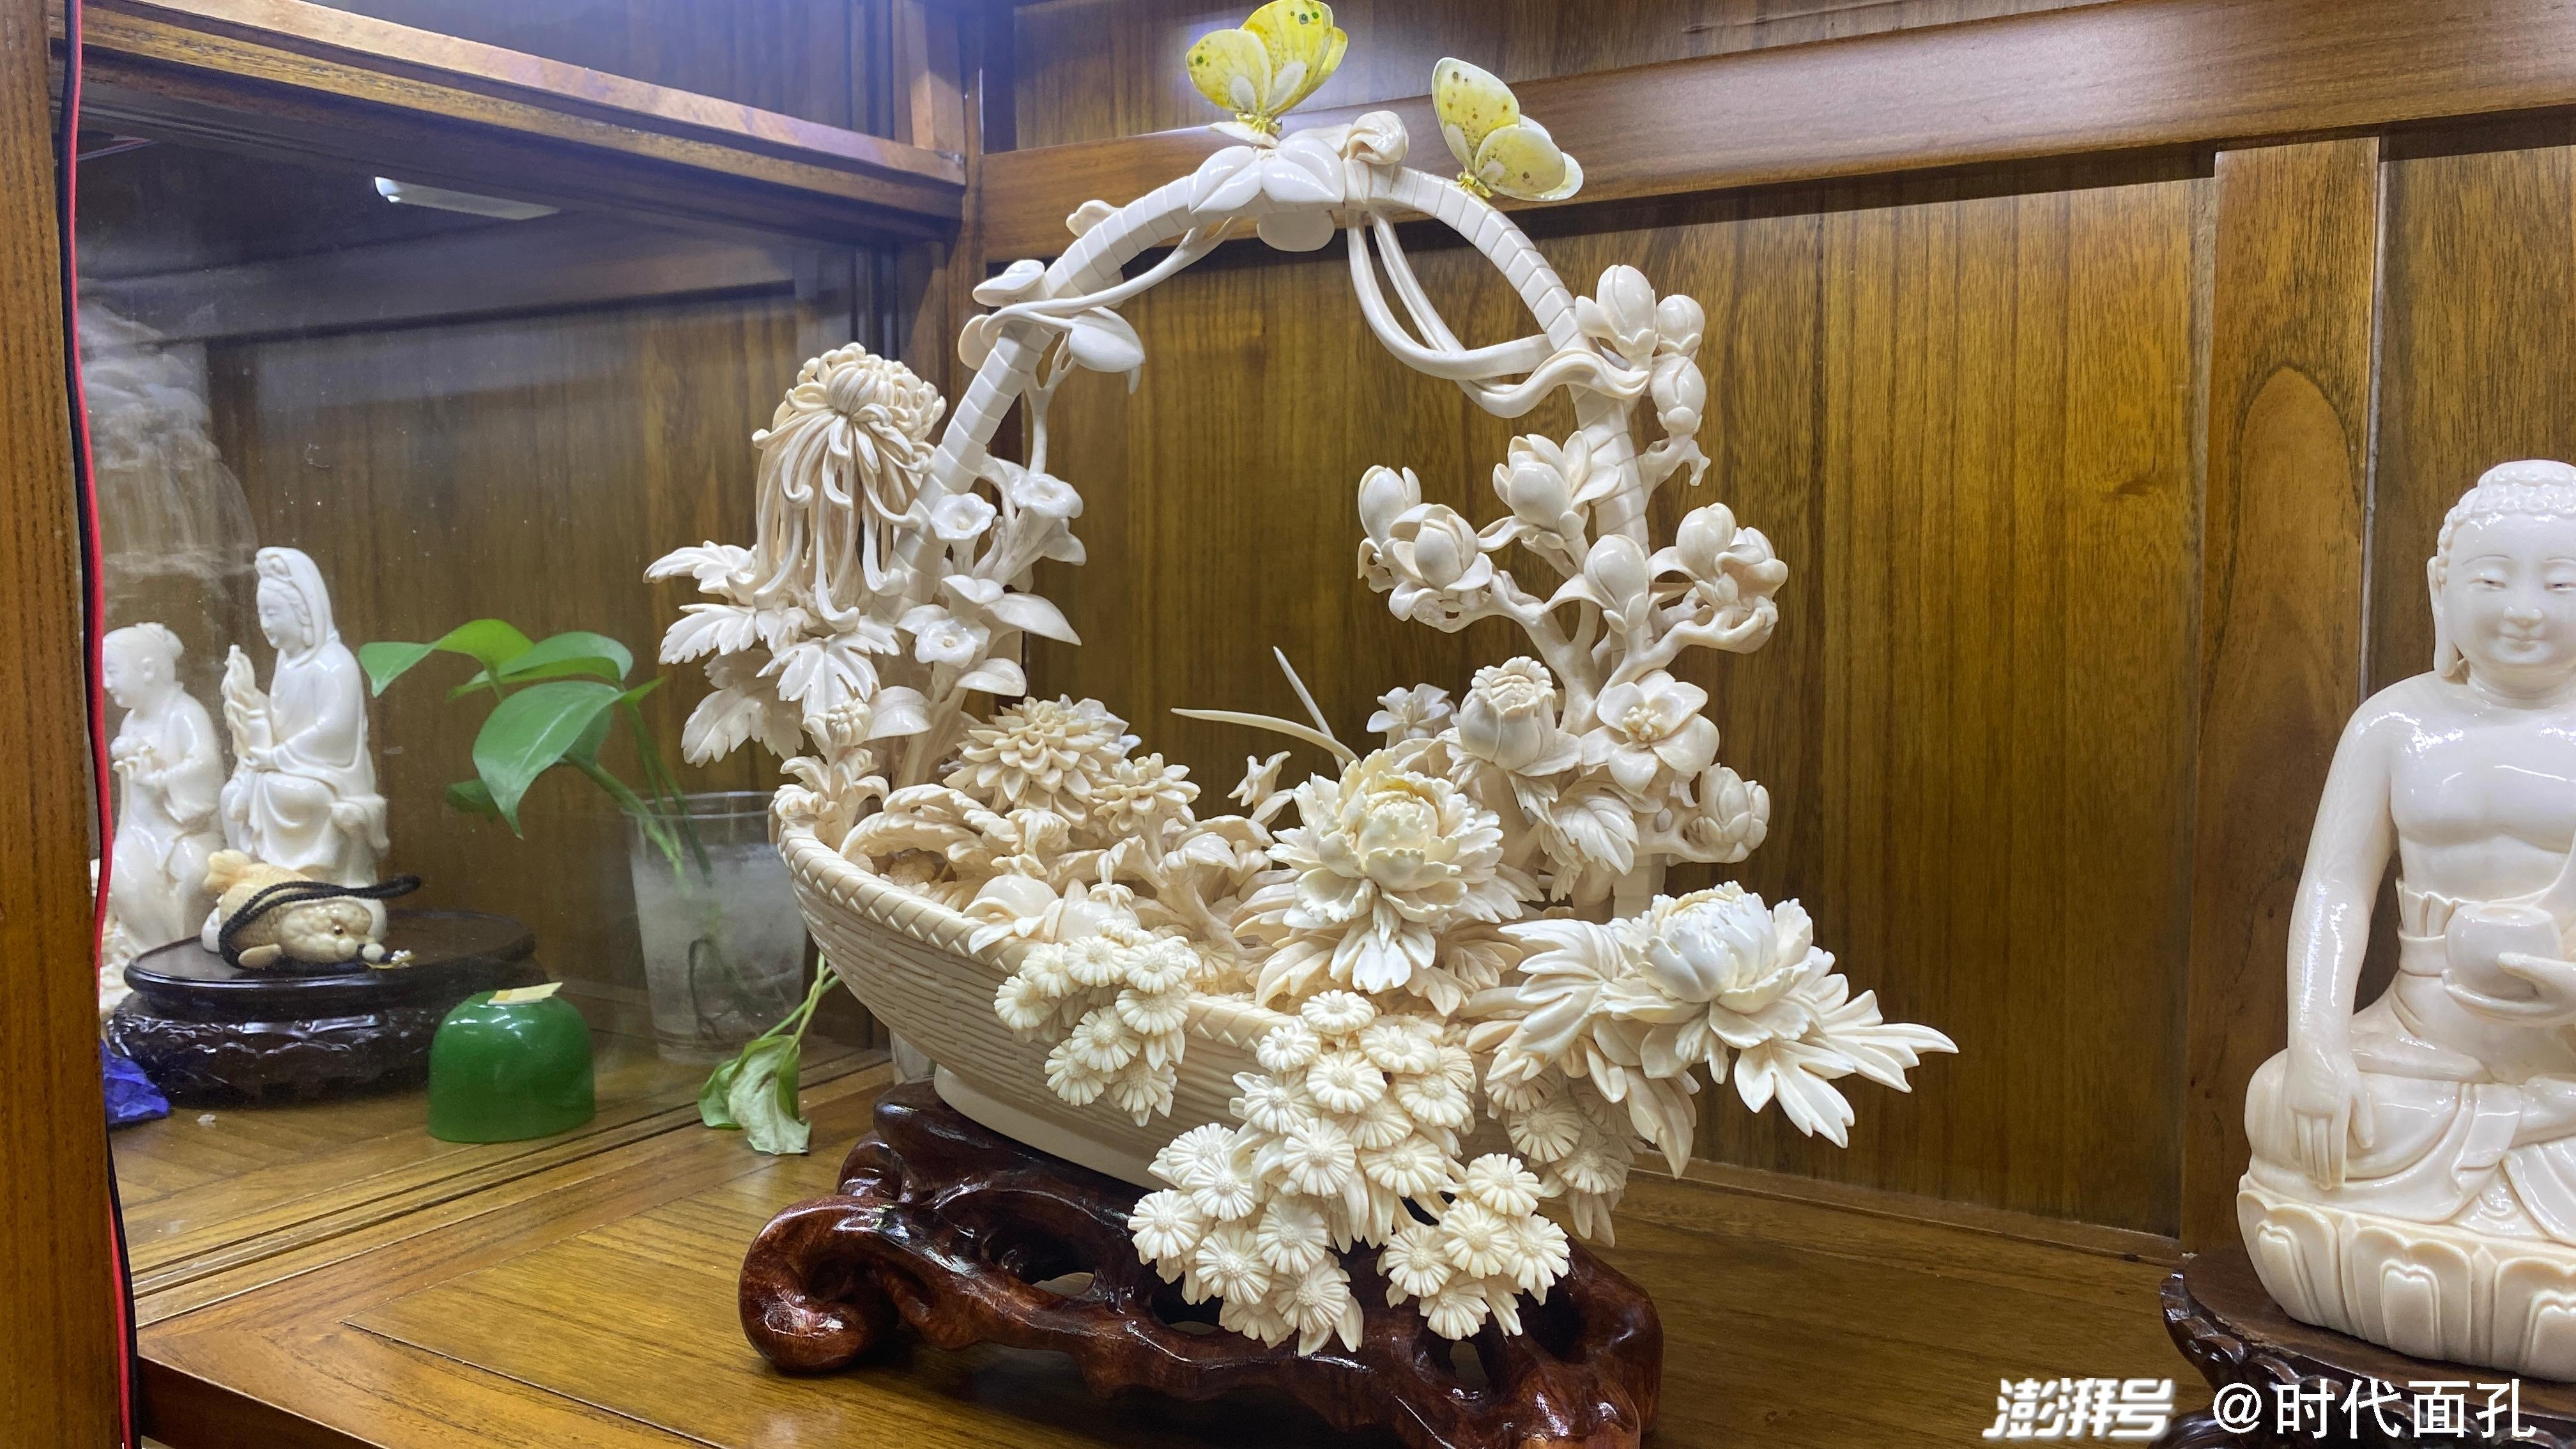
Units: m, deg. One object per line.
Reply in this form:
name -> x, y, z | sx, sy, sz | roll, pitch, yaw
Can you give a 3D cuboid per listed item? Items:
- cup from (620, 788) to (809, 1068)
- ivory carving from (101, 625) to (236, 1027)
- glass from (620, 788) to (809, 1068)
cup -> -0.754, 0.290, 2.557 | 0.184, 0.461, 0.200 | 0, 0, 0
ivory carving -> -1.304, 0.101, 2.186 | 0.146, 0.431, 0.090 | -7, 7, -29
glass -> -0.752, 0.275, 2.551 | 0.184, 0.461, 0.200 | 0, 0, 32
